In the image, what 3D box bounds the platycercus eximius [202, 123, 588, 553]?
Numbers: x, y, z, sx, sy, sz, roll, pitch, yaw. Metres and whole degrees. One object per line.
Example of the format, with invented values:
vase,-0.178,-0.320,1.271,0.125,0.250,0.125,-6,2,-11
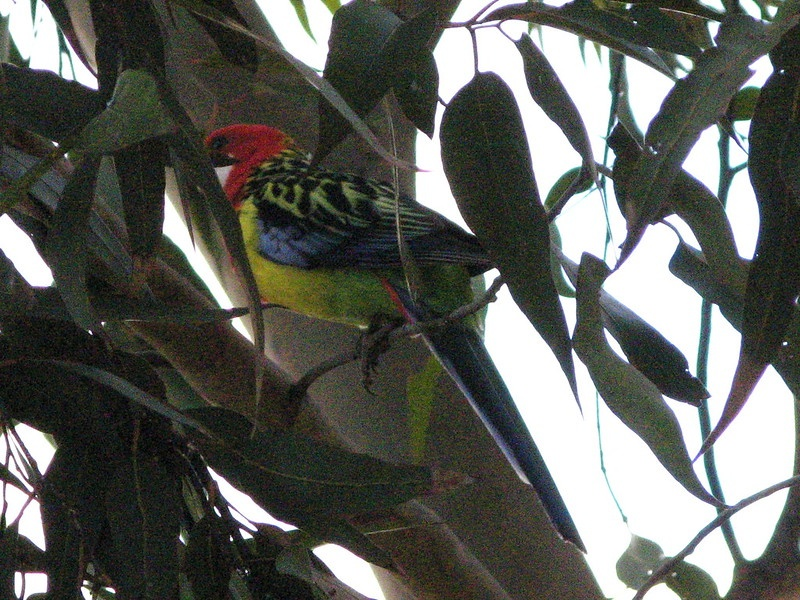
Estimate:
platycercus eximius,-0.040,0.006,2.186,0.676,0.557,0.234,3,5,33
